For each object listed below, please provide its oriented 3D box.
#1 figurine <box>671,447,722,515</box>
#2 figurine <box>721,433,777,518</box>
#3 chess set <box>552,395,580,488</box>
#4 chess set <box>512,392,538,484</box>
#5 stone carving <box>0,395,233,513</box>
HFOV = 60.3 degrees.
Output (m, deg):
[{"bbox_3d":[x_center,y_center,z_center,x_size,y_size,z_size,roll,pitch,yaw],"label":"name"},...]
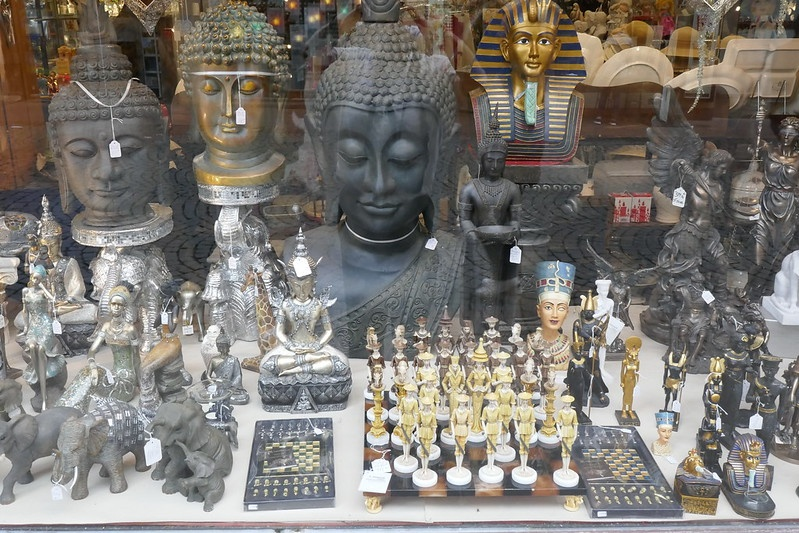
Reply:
[{"bbox_3d":[1.635,1.171,3.722,0.258,0.299,0.188,2,16,13],"label":"figurine"},{"bbox_3d":[1.901,1.132,3.718,0.244,0.384,0.225,2,16,13],"label":"figurine"},{"bbox_3d":[0.923,0.942,3.754,0.139,0.461,0.243,2,16,14],"label":"chess set"},{"bbox_3d":[0.703,0.939,3.809,0.144,0.434,0.298,1,16,12],"label":"chess set"},{"bbox_3d":[-1.511,1.026,3.949,1.307,0.607,0.523,2,2,0],"label":"stone carving"}]
